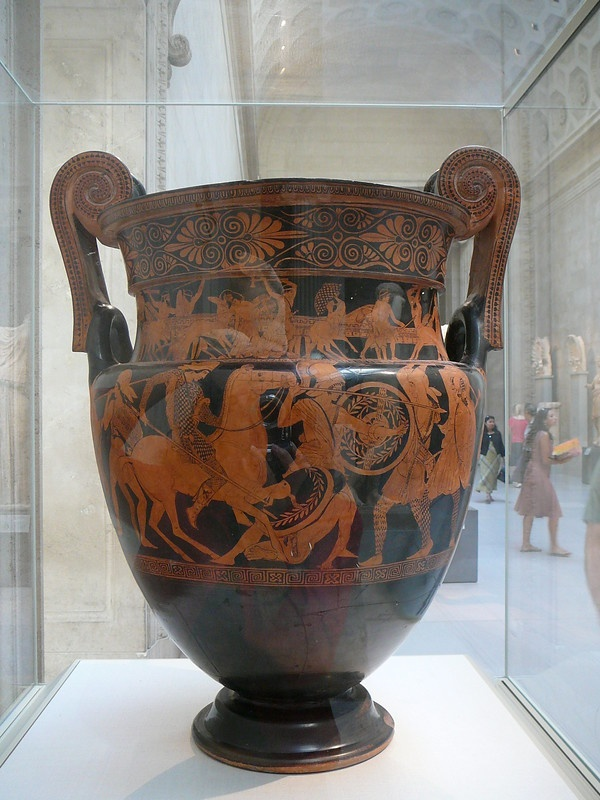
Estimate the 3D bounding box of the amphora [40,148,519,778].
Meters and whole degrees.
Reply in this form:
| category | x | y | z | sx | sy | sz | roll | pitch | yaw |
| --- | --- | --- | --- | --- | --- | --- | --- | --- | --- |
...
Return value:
| category | x | y | z | sx | sy | sz | roll | pitch | yaw |
| --- | --- | --- | --- | --- | --- | --- | --- | --- | --- |
| amphora | -0.002 | 0.070 | 1.597 | 0.876 | 0.950 | 0.618 | 1 | -2 | 6 |
